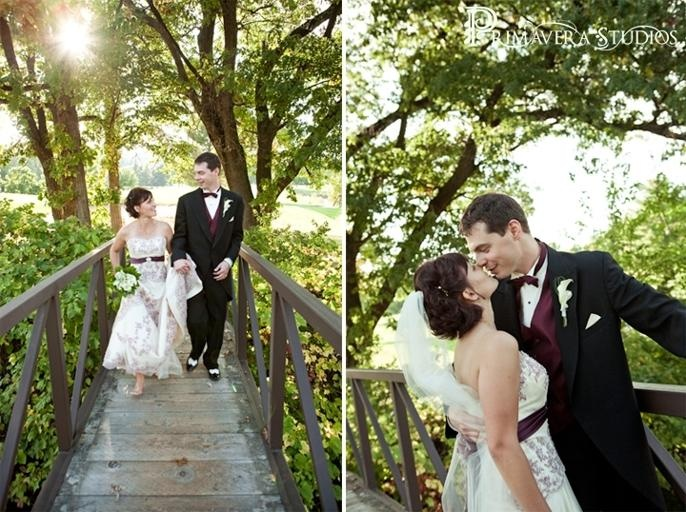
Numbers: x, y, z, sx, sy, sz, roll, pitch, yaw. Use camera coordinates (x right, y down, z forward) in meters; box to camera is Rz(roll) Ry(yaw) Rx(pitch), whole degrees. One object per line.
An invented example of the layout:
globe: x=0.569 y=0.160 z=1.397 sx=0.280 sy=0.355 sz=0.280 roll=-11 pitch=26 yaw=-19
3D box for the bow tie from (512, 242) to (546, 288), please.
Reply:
bow tie: x=1.246 y=0.080 z=3.472 sx=0.081 sy=0.284 sz=0.199 roll=21 pitch=-7 yaw=9

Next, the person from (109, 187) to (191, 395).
person: x=-1.881 y=0.321 z=5.071 sx=0.720 sy=1.436 sz=0.619 roll=3 pitch=-2 yaw=-24
